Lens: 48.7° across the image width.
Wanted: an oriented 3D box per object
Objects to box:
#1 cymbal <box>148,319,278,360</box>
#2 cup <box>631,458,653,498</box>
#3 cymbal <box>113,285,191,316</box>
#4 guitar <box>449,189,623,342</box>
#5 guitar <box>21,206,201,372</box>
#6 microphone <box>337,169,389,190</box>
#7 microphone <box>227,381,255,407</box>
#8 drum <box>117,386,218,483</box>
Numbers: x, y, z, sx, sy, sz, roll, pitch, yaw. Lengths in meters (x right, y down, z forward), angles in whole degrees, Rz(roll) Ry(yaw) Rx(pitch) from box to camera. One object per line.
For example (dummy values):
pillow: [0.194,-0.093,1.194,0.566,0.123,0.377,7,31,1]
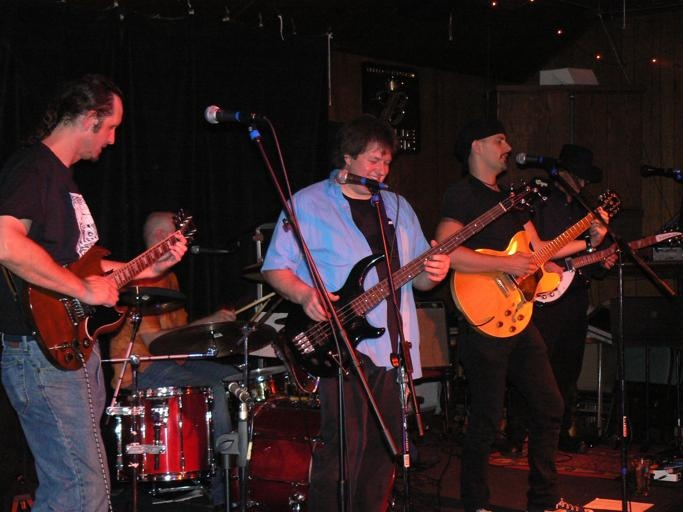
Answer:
cymbal: [-0.917,0.581,5.238,0.462,0.098,0.478,4,-34,-26]
cup: [2.230,1.648,5.619,0.152,0.233,0.282,-3,-5,21]
cymbal: [-1.227,0.275,4.830,0.264,0.045,0.268,14,-33,-27]
guitar: [1.348,-0.006,5.414,1.553,0.645,0.155,-39,8,-27]
guitar: [-1.205,0.067,4.083,1.109,0.427,0.144,-44,-31,7]
microphone: [0.106,-0.392,4.010,0.269,0.078,0.110,14,-19,-15]
microphone: [-0.633,0.845,4.687,0.152,0.091,0.357,-34,9,-10]
drum: [-1.270,1.393,5.565,0.721,0.703,0.723,4,-23,-30]
